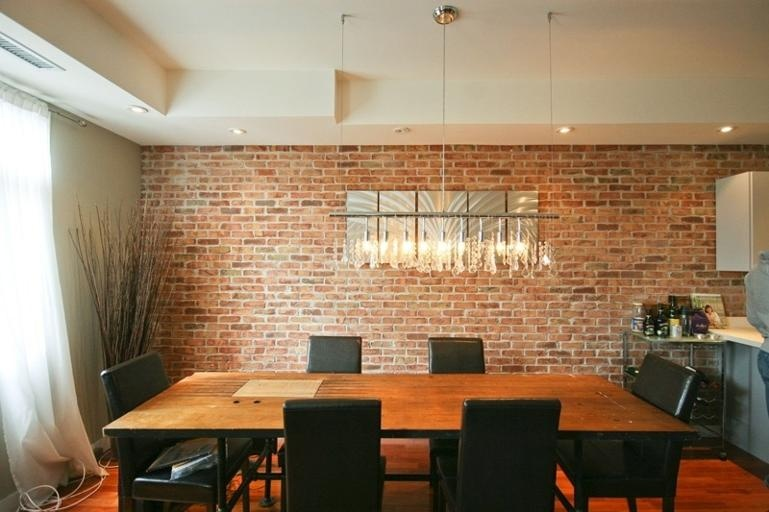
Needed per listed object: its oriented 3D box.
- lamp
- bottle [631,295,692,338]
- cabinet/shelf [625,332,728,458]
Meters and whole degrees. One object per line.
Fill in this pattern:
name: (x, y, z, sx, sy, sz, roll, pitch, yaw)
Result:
lamp: (0.622, -1.082, 5.985, 2.557, 2.303, 0.656, 0, -3, 1)
bottle: (2.791, 0.626, 6.444, 0.474, 0.346, 0.141, -1, -16, 7)
cabinet/shelf: (3.124, 1.372, 6.615, 0.967, 1.065, 0.901, 10, -11, -3)
